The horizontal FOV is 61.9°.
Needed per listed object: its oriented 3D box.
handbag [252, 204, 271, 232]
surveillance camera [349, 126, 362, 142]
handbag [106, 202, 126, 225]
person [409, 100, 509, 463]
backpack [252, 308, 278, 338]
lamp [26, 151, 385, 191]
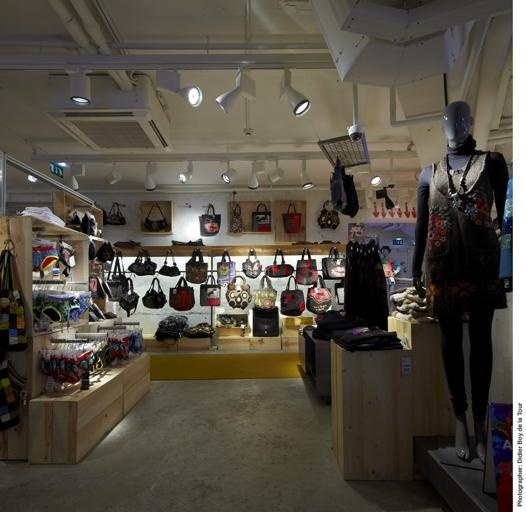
[{"bbox_3d":[-0.033,-0.722,8.412,0.415,0.778,0.227,0,-7,-3],"label":"handbag"},{"bbox_3d":[0.786,-1.045,3.706,0.113,0.105,0.194,0,1,14],"label":"surveillance camera"},{"bbox_3d":[-2.829,-0.821,8.446,0.312,0.479,0.196,3,-38,-12],"label":"handbag"},{"bbox_3d":[1.228,0.158,2.774,0.562,2.210,0.385,0,1,32],"label":"person"},{"bbox_3d":[0.044,1.114,7.362,0.387,0.490,0.450,0,-1,3],"label":"backpack"},{"bbox_3d":[-1.163,-1.273,6.588,3.985,0.537,1.281,0,1,1],"label":"lamp"}]
